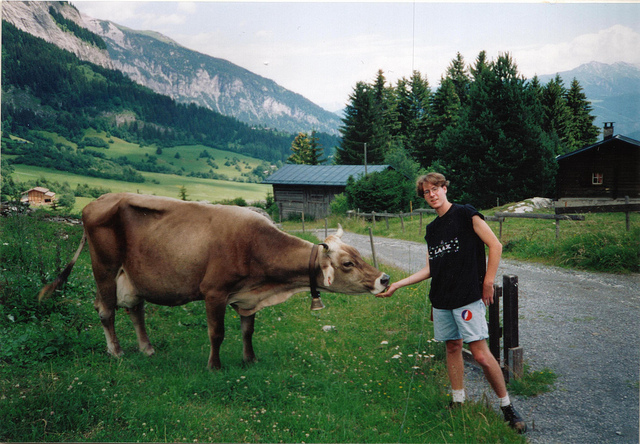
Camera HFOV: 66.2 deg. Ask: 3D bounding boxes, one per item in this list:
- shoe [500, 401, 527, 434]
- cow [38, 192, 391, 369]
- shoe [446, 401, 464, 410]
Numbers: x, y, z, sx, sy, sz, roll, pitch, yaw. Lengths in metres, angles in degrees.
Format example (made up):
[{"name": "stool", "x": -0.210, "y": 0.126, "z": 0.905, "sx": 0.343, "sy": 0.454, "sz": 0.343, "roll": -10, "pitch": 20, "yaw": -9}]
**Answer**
[{"name": "shoe", "x": 3.531, "y": 3.572, "z": 8.824, "sx": 0.463, "sy": 0.520, "sz": 0.251, "roll": -2, "pitch": 6, "yaw": 5}, {"name": "cow", "x": -2.749, "y": 1.201, "z": 10.550, "sx": 4.605, "sy": 3.679, "sz": 0.903, "roll": -1, "pitch": 6, "yaw": 12}, {"name": "shoe", "x": 2.530, "y": 3.456, "z": 9.191, "sx": 0.302, "sy": 0.162, "sz": 0.132, "roll": -2, "pitch": 6, "yaw": -2}]
